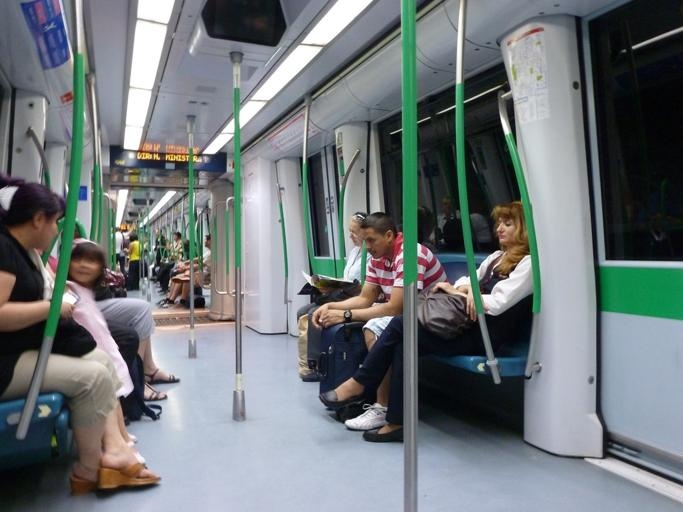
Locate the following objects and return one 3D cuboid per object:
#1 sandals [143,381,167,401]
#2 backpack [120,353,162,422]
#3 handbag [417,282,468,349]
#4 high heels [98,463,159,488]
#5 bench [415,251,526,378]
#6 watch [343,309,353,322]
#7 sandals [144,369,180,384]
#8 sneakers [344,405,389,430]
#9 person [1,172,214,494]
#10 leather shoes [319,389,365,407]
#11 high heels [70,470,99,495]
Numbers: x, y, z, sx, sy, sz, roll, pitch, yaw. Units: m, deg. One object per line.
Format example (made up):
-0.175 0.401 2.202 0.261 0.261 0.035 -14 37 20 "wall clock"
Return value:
-1.710 1.209 4.110 0.317 0.145 0.112 2 1 -2 "sandals"
-1.594 1.140 3.664 0.346 0.437 0.176 13 11 40 "backpack"
0.715 0.363 3.297 0.163 0.419 0.465 43 -24 -20 "handbag"
-1.192 1.204 2.566 0.238 0.114 0.147 2 -5 -24 "high heels"
0.918 0.404 3.194 0.505 0.723 0.947 2 -6 -30 "bench"
0.054 0.467 3.604 0.052 0.094 0.081 1 -2 0 "watch"
-1.772 1.198 4.562 0.319 0.145 0.119 -1 0 -17 "sandals"
0.197 1.185 3.452 0.357 0.162 0.135 -3 -2 -22 "sneakers"
-1.472 0.383 3.397 1.303 2.547 0.996 0 4 -29 "person"
-0.006 1.053 3.402 0.250 0.104 0.152 7 -7 -22 "leather shoes"
-1.411 1.257 2.552 0.155 0.071 0.083 11 -3 -37 "high heels"
